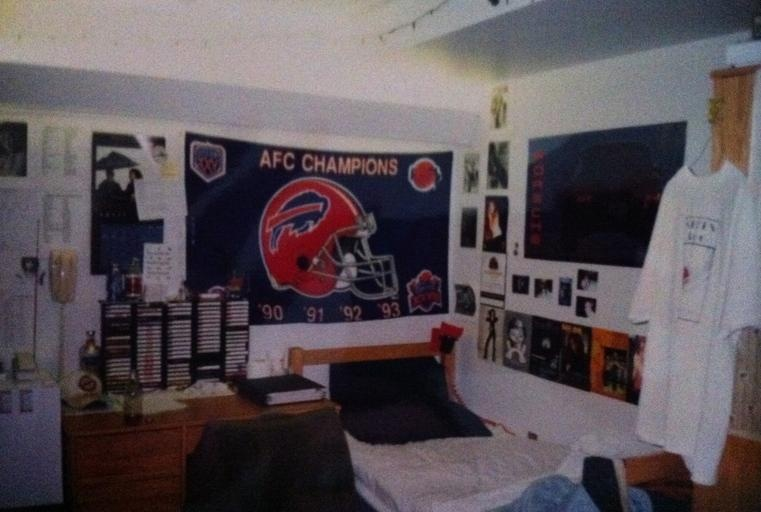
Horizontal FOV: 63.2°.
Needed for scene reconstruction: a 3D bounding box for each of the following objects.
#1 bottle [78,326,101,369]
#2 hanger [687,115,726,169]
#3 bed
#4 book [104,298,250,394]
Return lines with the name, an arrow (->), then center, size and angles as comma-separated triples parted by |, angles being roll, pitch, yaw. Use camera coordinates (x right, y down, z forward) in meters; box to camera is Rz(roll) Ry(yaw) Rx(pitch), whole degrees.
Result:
bottle -> -1.259, 0.410, 2.679 | 0.077, 0.173, 0.035 | -1, 3, -28
hanger -> 1.264, -0.431, 2.452 | 0.082, 0.214, 0.030 | 2, 3, 29
bed -> 0.473, 0.675, 2.784 | 0.797, 0.443, 1.012 | 0, 0, -42
book -> -0.906, 0.384, 2.774 | 0.617, 0.411, 0.121 | -1, 3, -31
